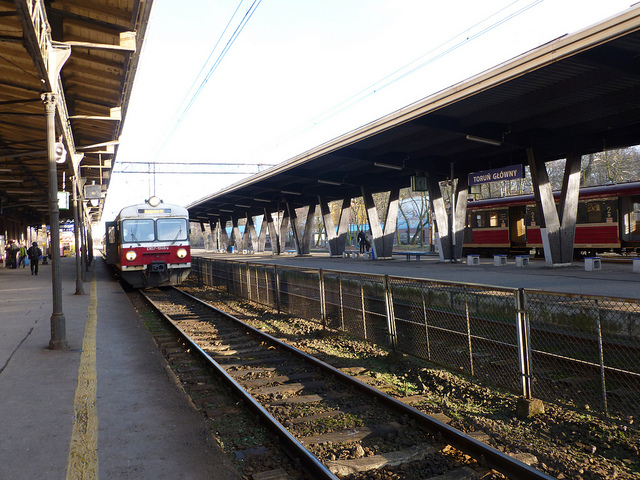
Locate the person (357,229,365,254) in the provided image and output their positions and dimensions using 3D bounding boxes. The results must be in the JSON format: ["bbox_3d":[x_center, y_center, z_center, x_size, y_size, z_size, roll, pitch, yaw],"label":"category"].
[{"bbox_3d":[3.799,0.189,39.097,0.534,1.517,1.410,-3,1,6],"label":"person"}]

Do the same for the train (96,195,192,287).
[{"bbox_3d":[-10.151,0.109,24.732,3.382,3.771,14.004,-1,0,-23],"label":"train"}]

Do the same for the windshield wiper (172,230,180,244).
[{"bbox_3d":[-6.247,-0.132,18.946,0.094,0.628,0.095,28,-11,16],"label":"windshield wiper"}]
